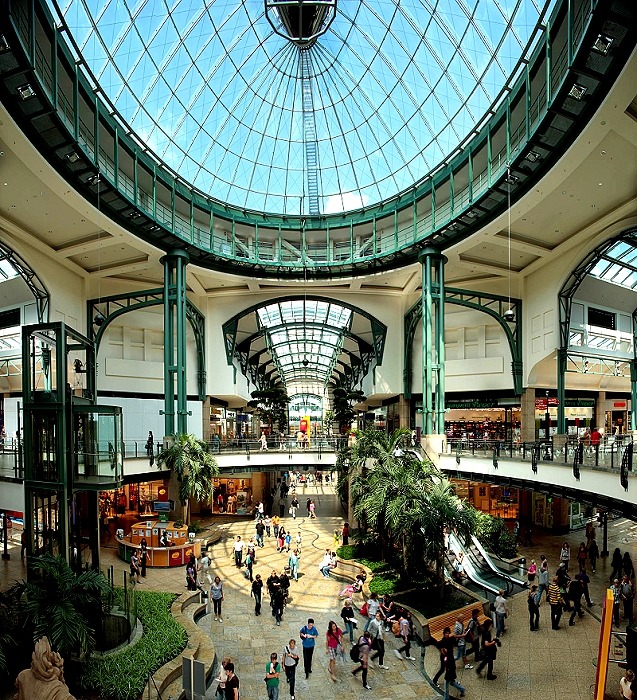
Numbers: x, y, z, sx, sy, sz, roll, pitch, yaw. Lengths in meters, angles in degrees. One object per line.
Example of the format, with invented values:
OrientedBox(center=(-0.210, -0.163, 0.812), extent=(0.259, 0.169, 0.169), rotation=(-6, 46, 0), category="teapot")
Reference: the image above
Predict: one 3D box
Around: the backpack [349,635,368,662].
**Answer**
OrientedBox(center=(1.049, 7.664, 14.610), extent=(0.482, 0.661, 0.231), rotation=(-1, -8, -1), category="backpack")

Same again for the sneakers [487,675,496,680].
OrientedBox(center=(4.536, 8.559, 14.938), extent=(0.275, 0.098, 0.091), rotation=(5, -10, -32), category="sneakers")

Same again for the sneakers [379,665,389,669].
OrientedBox(center=(1.774, 8.689, 15.657), extent=(0.255, 0.121, 0.092), rotation=(-2, 6, -2), category="sneakers")

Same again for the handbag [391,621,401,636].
OrientedBox(center=(2.339, 8.459, 17.297), extent=(0.103, 0.318, 0.294), rotation=(3, -3, -18), category="handbag")

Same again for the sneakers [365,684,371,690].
OrientedBox(center=(1.267, 8.591, 14.539), extent=(0.133, 0.062, 0.189), rotation=(-9, -12, 41), category="sneakers")
